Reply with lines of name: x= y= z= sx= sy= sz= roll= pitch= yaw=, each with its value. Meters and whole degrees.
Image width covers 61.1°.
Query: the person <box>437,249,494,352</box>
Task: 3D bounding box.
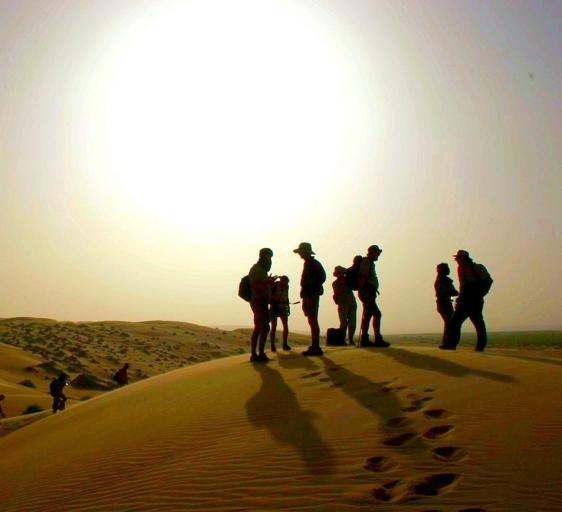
person: x=3.573 y=0.913 z=9.202 sx=1.092 sy=1.994 sz=0.655 roll=-13 pitch=0 yaw=14

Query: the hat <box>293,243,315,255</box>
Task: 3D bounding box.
hat: x=0.417 y=-0.170 z=9.161 sx=0.327 sy=0.194 sz=0.400 roll=3 pitch=7 yaw=10
